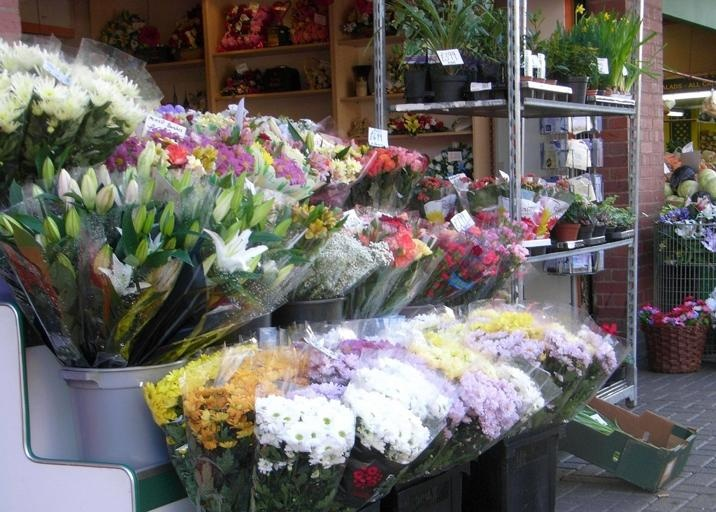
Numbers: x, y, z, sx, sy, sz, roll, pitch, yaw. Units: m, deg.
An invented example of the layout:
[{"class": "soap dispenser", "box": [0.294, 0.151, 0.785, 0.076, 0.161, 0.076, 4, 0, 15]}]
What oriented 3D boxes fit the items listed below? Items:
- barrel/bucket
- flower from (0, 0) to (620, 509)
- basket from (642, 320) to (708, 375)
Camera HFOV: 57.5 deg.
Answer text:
[{"class": "barrel/bucket", "box": [-0.606, 0.401, 1.594, 0.239, 0.208, 0.229, 7, -17, 2]}, {"class": "flower", "box": [-0.225, 0.155, 1.584, 1.299, 0.640, 1.212, 19, -3, -38]}, {"class": "basket", "box": [2.742, 0.789, 5.633, 0.434, 0.370, 0.463, 1, -5, -5]}]
